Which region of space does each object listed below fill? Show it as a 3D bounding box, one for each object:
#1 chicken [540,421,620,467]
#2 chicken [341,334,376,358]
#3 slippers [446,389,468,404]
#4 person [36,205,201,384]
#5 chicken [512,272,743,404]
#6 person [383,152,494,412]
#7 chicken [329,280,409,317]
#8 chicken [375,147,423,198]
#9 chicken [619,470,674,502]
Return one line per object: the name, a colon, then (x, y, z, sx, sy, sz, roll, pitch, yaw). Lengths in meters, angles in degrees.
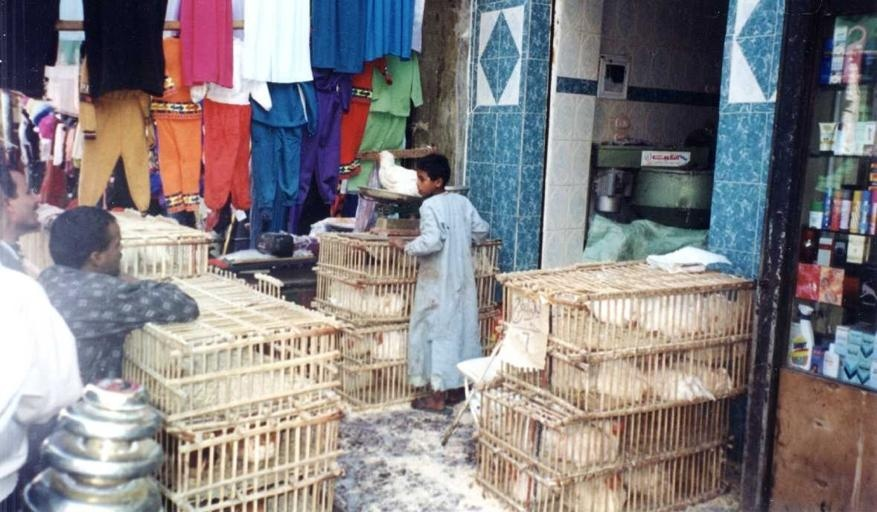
chicken: (1.218, 1.435, 6.092, 0.485, 0.241, 0.386, 6, -17, -9)
chicken: (-0.740, 0.823, 7.565, 0.225, 0.146, 0.230, 0, -1, 35)
slippers: (0.169, 1.347, 7.786, 0.115, 0.053, 0.158, 2, 9, 37)
person: (-2.290, 0.225, 5.739, 1.290, 1.115, 0.773, 21, 22, 39)
chicken: (1.421, 0.606, 6.165, 1.892, 0.937, 0.689, 0, 9, -15)
person: (-0.005, 0.240, 7.598, 0.852, 2.335, 0.562, 0, 9, -8)
chicken: (-0.579, 0.409, 7.572, 0.460, 0.213, 0.446, 1, 3, -44)
chicken: (-0.400, -0.820, 8.047, 0.504, 0.376, 0.351, 21, 19, 26)
chicken: (1.572, 1.728, 6.146, 0.316, 0.128, 0.239, 13, -11, -33)
